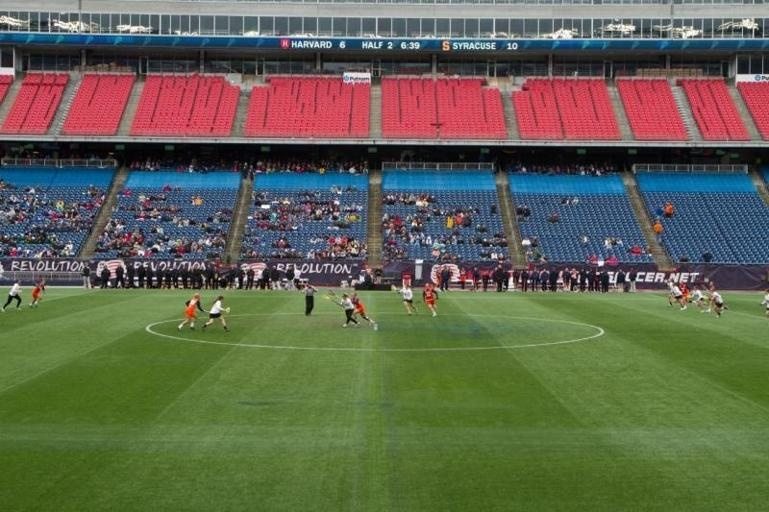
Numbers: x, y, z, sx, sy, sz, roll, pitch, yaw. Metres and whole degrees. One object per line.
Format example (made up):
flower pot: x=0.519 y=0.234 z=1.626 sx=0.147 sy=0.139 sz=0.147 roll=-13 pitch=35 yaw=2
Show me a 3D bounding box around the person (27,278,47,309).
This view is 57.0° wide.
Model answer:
person: x=-27.620 y=3.088 z=56.101 sx=1.115 sy=2.230 sz=1.379 roll=-12 pitch=-16 yaw=13
